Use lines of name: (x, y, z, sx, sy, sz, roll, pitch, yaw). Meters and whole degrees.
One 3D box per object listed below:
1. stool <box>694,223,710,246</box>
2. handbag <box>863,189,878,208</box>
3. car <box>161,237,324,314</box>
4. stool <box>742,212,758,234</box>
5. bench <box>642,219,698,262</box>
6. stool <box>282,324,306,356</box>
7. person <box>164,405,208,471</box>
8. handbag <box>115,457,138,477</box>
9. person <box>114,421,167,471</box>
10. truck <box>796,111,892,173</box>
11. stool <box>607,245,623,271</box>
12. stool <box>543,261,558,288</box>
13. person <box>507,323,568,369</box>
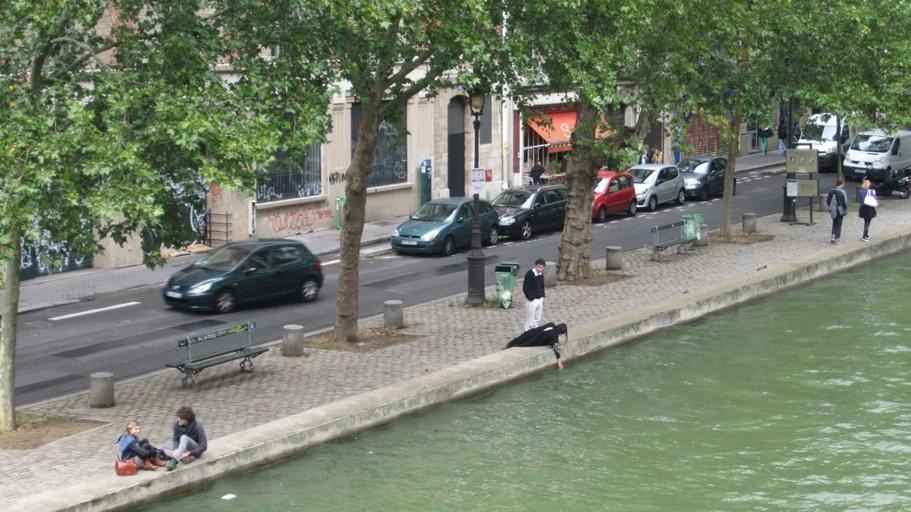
stool: (8.674, -0.773, 53.341, 0.810, 0.777, 0.772, 3, 8, 25)
handbag: (14.950, -2.107, 53.124, 0.388, 0.649, 0.639, -6, 5, 21)
car: (-6.471, 0.586, 45.681, 3.171, 2.783, 7.503, 1, -1, 32)
stool: (11.151, -1.251, 55.580, 0.811, 0.768, 0.756, -3, 3, -25)
bench: (7.604, -0.568, 52.311, 1.795, 1.818, 1.488, 1, 1, 29)
stool: (-4.686, 2.456, 41.382, 0.742, 0.676, 0.693, -2, -2, -23)
person: (-6.554, 4.458, 35.801, 1.109, 1.310, 1.450, 0, -1, 12)
handbag: (-7.962, 5.060, 35.326, 0.569, 0.342, 0.409, 1, -1, -28)
person: (-7.787, 4.632, 35.875, 1.601, 1.296, 0.818, -2, 11, -15)
truck: (19.926, -5.743, 71.918, 7.198, 3.377, 3.976, -5, 8, -41)
stool: (5.481, 0.062, 49.689, 0.805, 0.761, 0.780, 2, 4, 27)
stool: (3.059, 0.584, 47.555, 0.770, 0.715, 0.729, 1, 5, 7)
person: (2.374, 2.556, 41.358, 1.531, 1.275, 0.620, -6, 5, 3)
